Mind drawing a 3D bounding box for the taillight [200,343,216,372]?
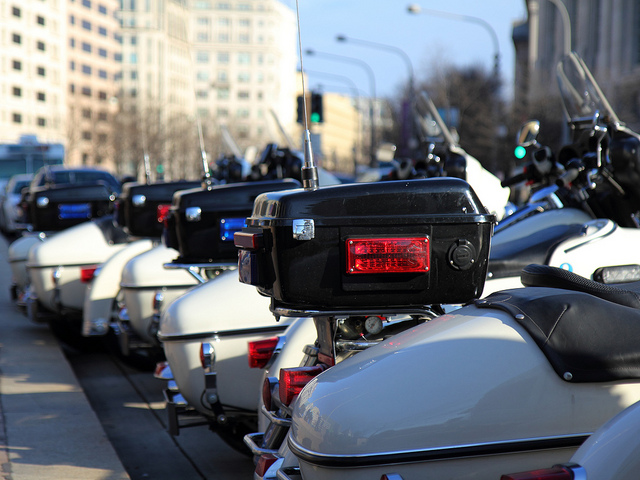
[{"bbox_3d":[-0.689,0.736,5.461,0.089,0.181,0.068,-3,7,-7],"label":"taillight"}]

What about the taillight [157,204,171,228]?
[{"bbox_3d":[-1.322,-0.205,7.499,0.076,0.266,0.173,4,-2,-33],"label":"taillight"}]

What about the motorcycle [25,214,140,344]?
[{"bbox_3d":[-2.397,0.316,8.814,1.173,1.064,0.973,-1,-1,-11],"label":"motorcycle"}]

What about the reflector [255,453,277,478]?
[{"bbox_3d":[-0.253,1.091,4.241,0.082,0.093,0.138,-4,8,-19],"label":"reflector"}]

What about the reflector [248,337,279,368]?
[{"bbox_3d":[-0.354,0.684,5.329,0.142,0.234,0.083,3,0,9],"label":"reflector"}]

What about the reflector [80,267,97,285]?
[{"bbox_3d":[-2.299,0.345,8.750,0.196,0.227,0.055,3,-1,22],"label":"reflector"}]

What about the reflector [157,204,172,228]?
[{"bbox_3d":[-1.318,-0.205,7.483,0.082,0.262,0.169,7,-4,-38],"label":"reflector"}]

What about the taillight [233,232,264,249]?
[{"bbox_3d":[-0.357,-0.003,4.300,0.068,0.080,0.301,-5,8,-24],"label":"taillight"}]

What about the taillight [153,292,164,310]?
[{"bbox_3d":[-1.298,0.495,7.091,0.081,0.132,0.040,2,-5,29],"label":"taillight"}]

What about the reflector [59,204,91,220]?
[{"bbox_3d":[-2.919,-0.338,10.523,0.371,0.190,0.043,-5,8,-23],"label":"reflector"}]

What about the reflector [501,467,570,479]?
[{"bbox_3d":[0.848,0.920,3.466,0.249,0.082,0.071,-3,-5,7],"label":"reflector"}]

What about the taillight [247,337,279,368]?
[{"bbox_3d":[-0.318,0.724,5.389,0.143,0.087,0.217,-6,-16,3],"label":"taillight"}]

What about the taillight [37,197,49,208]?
[{"bbox_3d":[-3.243,-0.437,10.343,0.134,0.117,0.021,-7,9,-36],"label":"taillight"}]

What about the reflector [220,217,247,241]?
[{"bbox_3d":[-0.600,-0.075,6.012,0.187,0.181,0.108,-1,4,-9],"label":"reflector"}]
